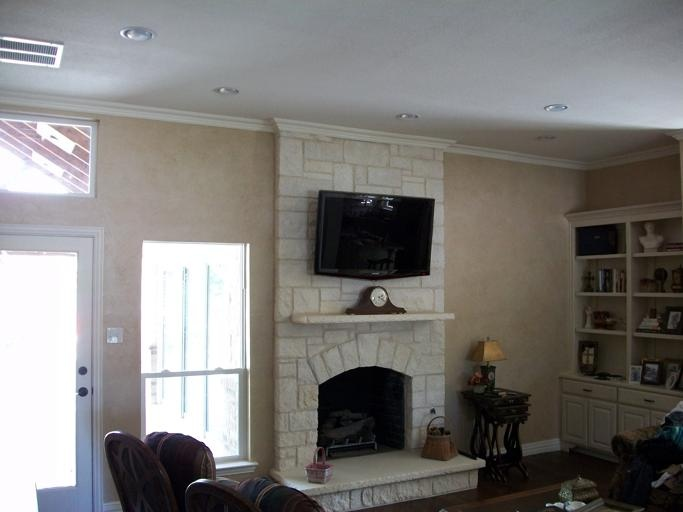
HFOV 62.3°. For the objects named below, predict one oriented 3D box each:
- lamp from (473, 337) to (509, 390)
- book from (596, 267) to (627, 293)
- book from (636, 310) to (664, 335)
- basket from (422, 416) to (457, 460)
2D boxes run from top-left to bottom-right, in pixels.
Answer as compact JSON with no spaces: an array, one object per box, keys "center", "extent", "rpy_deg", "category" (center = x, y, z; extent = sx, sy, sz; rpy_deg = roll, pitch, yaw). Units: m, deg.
[{"center":[1.622,1.172,6.250],"extent":[0.344,0.530,0.479],"rpy_deg":[0,-6,12],"category":"lamp"},{"center":[3.166,0.291,6.634],"extent":[0.338,0.315,0.262],"rpy_deg":[0,-4,3],"category":"book"},{"center":[3.412,0.736,6.257],"extent":[0.255,0.150,0.241],"rpy_deg":[-2,-1,16],"category":"book"},{"center":[1.068,1.848,5.779],"extent":[0.408,0.453,0.371],"rpy_deg":[11,-15,-42],"category":"basket"}]
